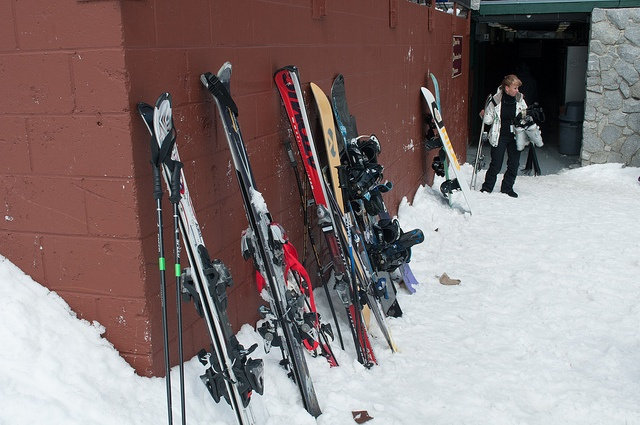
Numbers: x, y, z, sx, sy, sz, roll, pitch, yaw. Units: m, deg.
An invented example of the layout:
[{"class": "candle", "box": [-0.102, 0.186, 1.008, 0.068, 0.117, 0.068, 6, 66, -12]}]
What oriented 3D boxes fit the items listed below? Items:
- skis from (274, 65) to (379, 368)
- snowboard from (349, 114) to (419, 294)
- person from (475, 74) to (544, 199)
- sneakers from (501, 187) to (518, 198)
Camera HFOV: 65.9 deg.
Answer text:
[{"class": "skis", "box": [0.036, 0.085, 3.872, 0.269, 2.491, 0.165, -12, -6, -25]}, {"class": "snowboard", "box": [0.609, -0.083, 4.787, 0.216, 2.066, 0.206, -18, 0, 18]}, {"class": "person", "box": [2.866, -1.132, 7.417, 0.787, 1.770, 0.339, 1, 16, 17]}, {"class": "sneakers", "box": [2.921, -0.309, 7.549, 0.217, 0.239, 0.116, -7, 5, 6]}]
